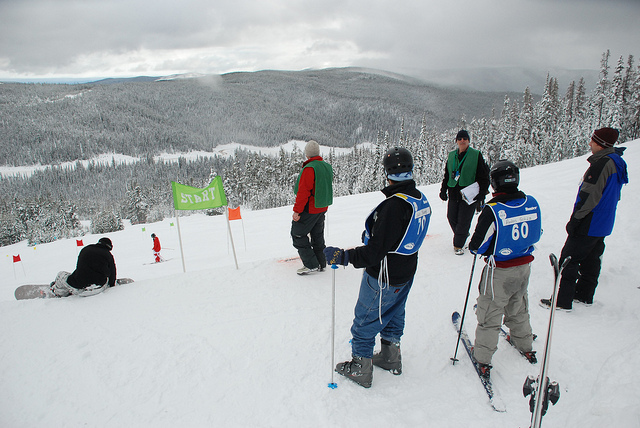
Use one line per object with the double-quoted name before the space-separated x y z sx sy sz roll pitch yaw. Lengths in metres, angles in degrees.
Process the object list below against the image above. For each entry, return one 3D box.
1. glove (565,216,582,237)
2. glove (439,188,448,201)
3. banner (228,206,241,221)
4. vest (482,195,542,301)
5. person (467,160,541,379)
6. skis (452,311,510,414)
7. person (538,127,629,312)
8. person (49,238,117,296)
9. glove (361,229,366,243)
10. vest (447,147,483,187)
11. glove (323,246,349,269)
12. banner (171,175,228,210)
"glove" 5.645 0.303 10.510 0.290 0.139 0.394 -17 27 28
"glove" 3.533 -0.531 13.364 0.198 0.383 0.381 1 18 13
"banner" -4.012 -0.008 21.811 0.680 0.781 0.703 1 18 -3
"vest" 3.914 0.396 9.510 1.077 1.409 0.363 -4 17 -4
"person" 3.766 1.111 9.609 1.481 4.225 1.046 -8 18 -14
"skis" 3.346 3.129 9.674 0.278 0.148 2.574 -5 42 -2
"person" 6.008 0.205 10.509 1.558 4.054 0.839 -16 22 -37
"person" -6.067 1.452 12.182 1.449 1.251 0.615 -13 20 -29
"glove" 0.888 0.462 9.557 0.069 0.236 0.057 9 -4 -2
"vest" 3.871 -1.222 12.811 0.833 1.098 0.579 5 4 36
"glove" 0.351 0.837 9.294 0.500 0.338 0.289 2 18 15
"banner" -3.449 -0.573 13.384 1.470 1.062 0.662 -5 17 -7
